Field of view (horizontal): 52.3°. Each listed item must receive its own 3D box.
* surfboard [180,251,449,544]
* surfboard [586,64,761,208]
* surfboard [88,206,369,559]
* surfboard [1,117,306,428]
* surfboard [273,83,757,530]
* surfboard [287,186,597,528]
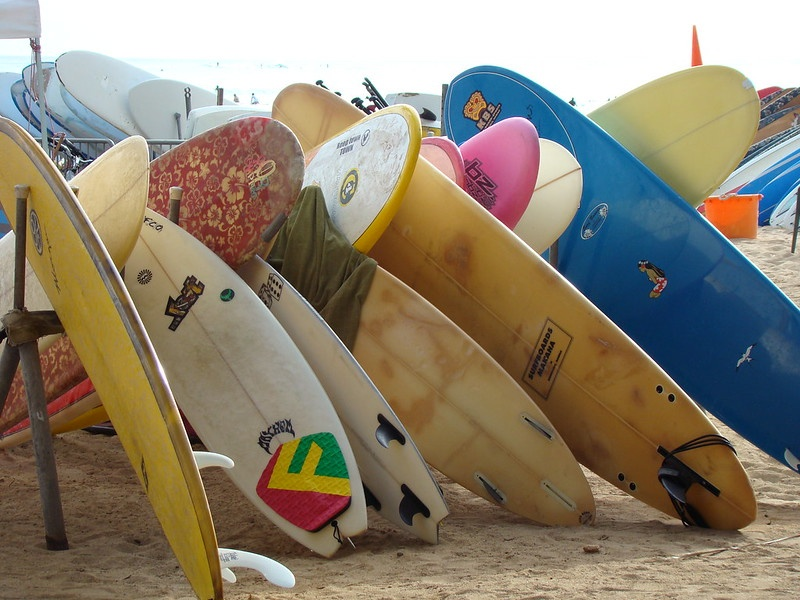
[{"bbox_3d":[-0.887,0.482,4.932,0.654,0.417,2.945,-22,41,-18],"label":"surfboard"},{"bbox_3d":[1.895,-1.178,5.787,0.294,0.819,2.198,-18,5,-17],"label":"surfboard"},{"bbox_3d":[-0.933,0.329,4.344,0.649,0.348,2.431,-24,51,-26],"label":"surfboard"},{"bbox_3d":[-1.192,-0.083,4.082,0.516,1.959,0.270,41,10,21],"label":"surfboard"},{"bbox_3d":[0.702,0.102,4.804,2.999,0.696,0.624,49,6,10],"label":"surfboard"},{"bbox_3d":[0.119,0.341,4.617,0.794,0.239,2.651,-39,61,-19],"label":"surfboard"}]
